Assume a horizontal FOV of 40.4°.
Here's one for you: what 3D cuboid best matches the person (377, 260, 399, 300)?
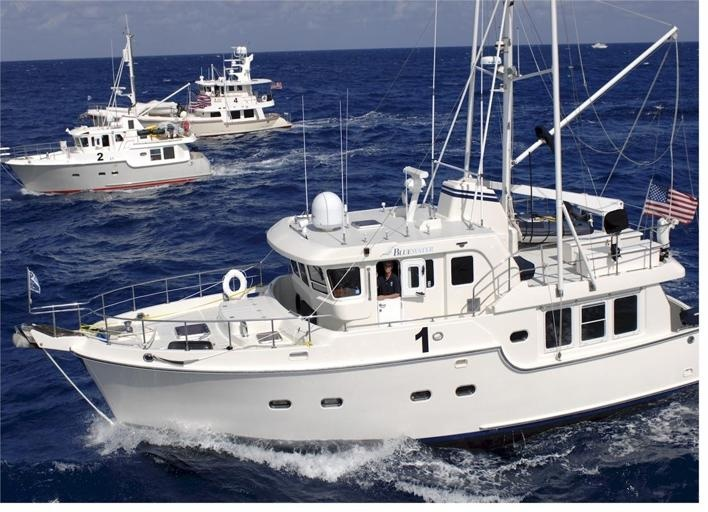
[{"bbox_3d":[1.088,0.741,30.411,0.721,1.170,0.350,-3,19,0],"label":"person"}]
